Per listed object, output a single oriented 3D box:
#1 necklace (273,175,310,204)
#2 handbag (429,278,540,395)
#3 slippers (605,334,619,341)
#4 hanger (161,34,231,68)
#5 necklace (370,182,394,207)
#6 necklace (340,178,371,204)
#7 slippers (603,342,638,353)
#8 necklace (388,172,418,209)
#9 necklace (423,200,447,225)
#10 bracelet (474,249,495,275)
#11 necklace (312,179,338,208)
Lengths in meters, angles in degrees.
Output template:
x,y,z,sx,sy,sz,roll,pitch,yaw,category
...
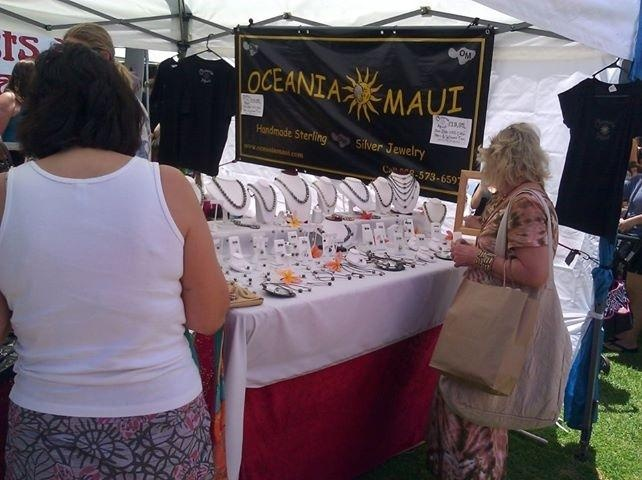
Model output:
x,y,z,sx,sy,sz,roll,pitch,yaw,category
-0.198,-0.346,3.291,0.241,0.166,0.163,3,14,-7,necklace
0.738,0.441,2.231,0.402,0.494,0.164,15,17,36,handbag
2.748,0.947,4.609,0.060,0.017,0.060,-13,24,-19,slippers
-1.259,-1.937,5.041,0.291,0.344,0.685,15,19,34,hanger
0.459,-0.362,3.758,0.181,0.210,0.170,13,16,30,necklace
0.262,-0.369,3.684,0.195,0.163,0.220,-3,16,-28,necklace
2.808,1.013,4.559,0.248,0.077,0.250,-1,-2,29,slippers
0.633,-0.364,3.797,0.245,0.288,0.175,7,14,9,necklace
0.870,-0.209,3.767,0.183,0.253,0.126,-1,3,-15,necklace
0.762,0.103,2.277,0.034,0.095,0.086,13,-7,-30,bracelet
0.025,-0.337,3.509,0.168,0.196,0.202,4,14,-4,necklace
